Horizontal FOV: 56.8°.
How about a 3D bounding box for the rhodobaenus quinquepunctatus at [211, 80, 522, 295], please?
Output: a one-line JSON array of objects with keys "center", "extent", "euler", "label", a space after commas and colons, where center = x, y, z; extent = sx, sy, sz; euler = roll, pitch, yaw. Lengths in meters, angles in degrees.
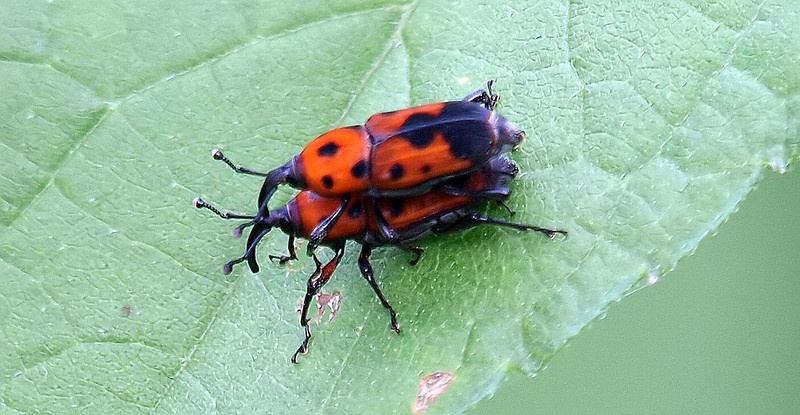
[{"center": [-0.080, -0.416, 6.095], "extent": [2.110, 0.369, 0.755], "euler": [-22, 83, -4], "label": "rhodobaenus quinquepunctatus"}]
